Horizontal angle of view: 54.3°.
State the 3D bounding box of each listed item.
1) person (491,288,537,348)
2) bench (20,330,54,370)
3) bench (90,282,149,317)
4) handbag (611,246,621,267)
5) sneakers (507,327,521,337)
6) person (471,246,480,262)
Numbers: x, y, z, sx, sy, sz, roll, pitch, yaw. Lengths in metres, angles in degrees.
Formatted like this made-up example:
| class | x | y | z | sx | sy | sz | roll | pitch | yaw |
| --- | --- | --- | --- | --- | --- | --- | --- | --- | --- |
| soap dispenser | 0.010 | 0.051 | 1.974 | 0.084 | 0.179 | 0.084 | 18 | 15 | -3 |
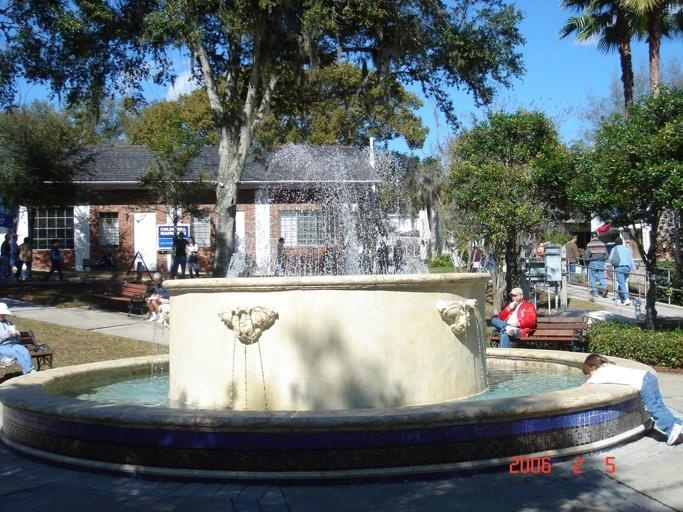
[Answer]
| class | x | y | z | sx | sy | sz | roll | pitch | yaw |
| --- | --- | --- | --- | --- | --- | --- | --- | --- | --- |
| person | 3.606 | 1.284 | 13.802 | 0.820 | 1.294 | 0.657 | -1 | 9 | 0 |
| bench | -6.273 | 1.986 | 13.772 | 0.483 | 0.858 | 1.295 | -6 | -4 | -23 |
| bench | -7.122 | 1.362 | 21.535 | 2.749 | 0.914 | 0.848 | 7 | 12 | 39 |
| handbag | 8.197 | 0.005 | 19.845 | 0.194 | 0.654 | 0.535 | 1 | 9 | 13 |
| sneakers | 3.553 | 1.567 | 13.692 | 0.268 | 0.131 | 0.184 | 1 | -1 | 30 |
| person | 5.642 | -0.101 | 27.977 | 0.374 | 0.956 | 0.268 | 12 | 34 | 28 |
